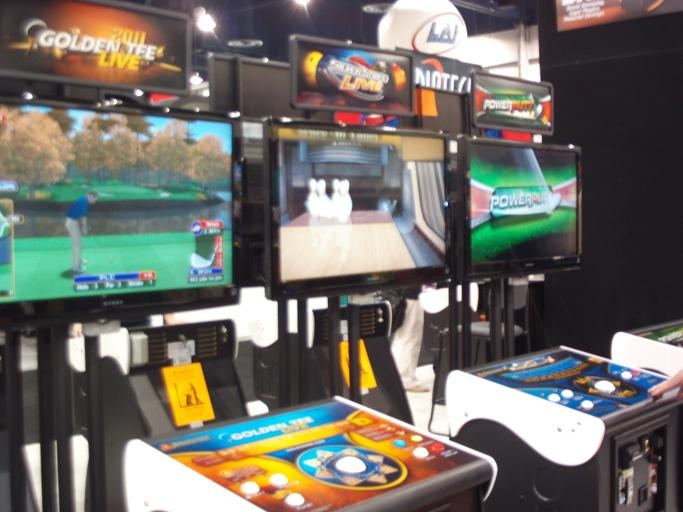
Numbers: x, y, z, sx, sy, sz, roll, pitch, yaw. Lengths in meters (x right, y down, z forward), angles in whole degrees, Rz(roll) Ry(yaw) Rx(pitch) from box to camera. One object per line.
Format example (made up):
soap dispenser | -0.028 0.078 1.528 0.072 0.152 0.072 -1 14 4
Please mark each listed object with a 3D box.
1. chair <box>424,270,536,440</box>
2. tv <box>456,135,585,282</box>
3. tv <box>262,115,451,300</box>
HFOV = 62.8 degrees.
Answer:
chair | 1.228 0.883 5.308 0.785 1.611 0.765 16 -5 29
tv | 0.846 -0.227 2.683 0.647 0.513 0.066 14 2 -38
tv | 0.049 -0.186 2.167 0.734 0.607 0.075 -2 1 -29
